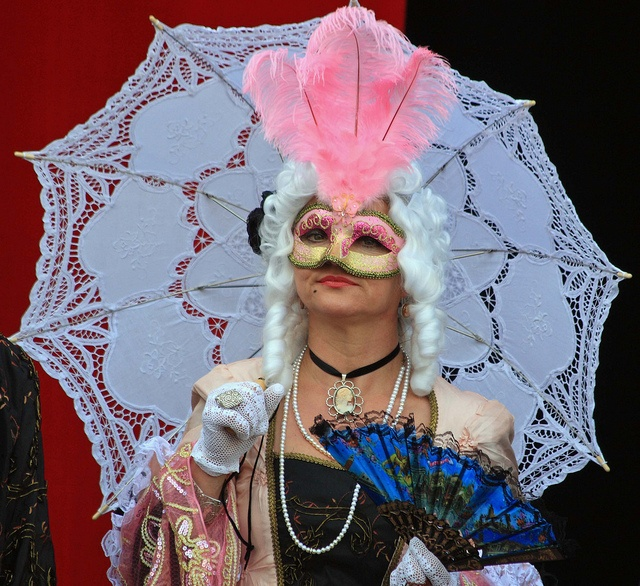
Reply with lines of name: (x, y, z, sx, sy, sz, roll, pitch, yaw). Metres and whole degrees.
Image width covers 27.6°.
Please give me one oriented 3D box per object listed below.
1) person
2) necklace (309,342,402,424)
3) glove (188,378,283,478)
person: (0.062, 0.267, 4.623, 1.423, 1.504, 0.919, 0, 14, 7)
necklace: (0.125, 0.340, 4.760, 0.343, 0.366, 0.044, 3, -28, 6)
glove: (-0.296, 0.455, 4.484, 0.285, 0.346, 0.242, 4, 28, -20)
